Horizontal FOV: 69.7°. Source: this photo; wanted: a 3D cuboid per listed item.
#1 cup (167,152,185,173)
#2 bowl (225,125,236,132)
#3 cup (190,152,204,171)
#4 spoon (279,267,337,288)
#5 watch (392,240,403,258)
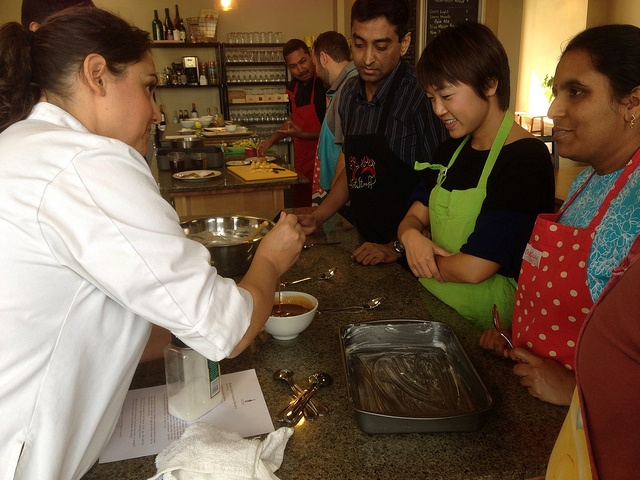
[{"bbox_3d":[-1.113,-0.629,3.678,0.136,0.175,0.146,2,15,-1],"label":"cup"},{"bbox_3d":[-1.041,-1.316,5.450,0.090,0.067,0.097,2,13,0],"label":"bowl"},{"bbox_3d":[-0.946,-0.627,3.662,0.110,0.145,0.121,2,15,2],"label":"cup"},{"bbox_3d":[-0.043,0.143,1.690,0.218,0.038,0.050,-12,28,-8],"label":"spoon"},{"bbox_3d":[0.322,0.040,1.866,0.011,0.050,0.049,-31,6,15],"label":"watch"}]
